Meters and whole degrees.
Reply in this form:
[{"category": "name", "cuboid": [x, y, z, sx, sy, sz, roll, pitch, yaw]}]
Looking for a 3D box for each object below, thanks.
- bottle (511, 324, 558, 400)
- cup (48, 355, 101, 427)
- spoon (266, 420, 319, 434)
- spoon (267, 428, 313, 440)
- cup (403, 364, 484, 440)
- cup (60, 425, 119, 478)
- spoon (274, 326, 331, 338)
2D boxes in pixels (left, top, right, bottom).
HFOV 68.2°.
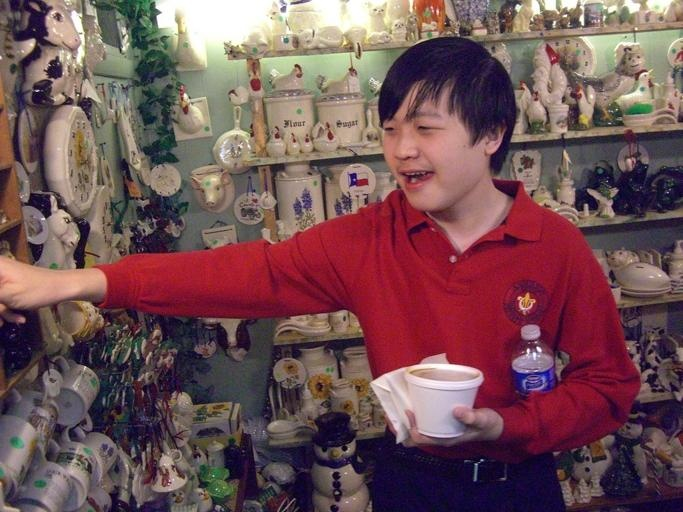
[{"category": "bottle", "cuboid": [0.468, 0.256, 1.216, 0.131, 0.144, 0.071, -11, 7, -34]}, {"category": "cup", "cuboid": [-0.748, 0.354, 1.357, 0.105, 0.118, 0.174, -23, -30, 19]}, {"category": "spoon", "cuboid": [-0.282, 0.951, 2.815, 0.162, 0.029, 0.113, 2, 3, 5]}, {"category": "spoon", "cuboid": [-0.271, 0.997, 2.819, 0.157, 0.027, 0.111, -3, -3, 8]}, {"category": "cup", "cuboid": [0.214, 0.306, 1.066, 0.157, 0.121, 0.154, 2, -2, 0]}, {"category": "cup", "cuboid": [-0.706, 0.530, 1.461, 0.168, 0.102, 0.117, 37, 34, 23]}, {"category": "spoon", "cuboid": [-0.221, 0.408, 2.767, 0.185, 0.050, 0.112, -5, 2, -7]}]
